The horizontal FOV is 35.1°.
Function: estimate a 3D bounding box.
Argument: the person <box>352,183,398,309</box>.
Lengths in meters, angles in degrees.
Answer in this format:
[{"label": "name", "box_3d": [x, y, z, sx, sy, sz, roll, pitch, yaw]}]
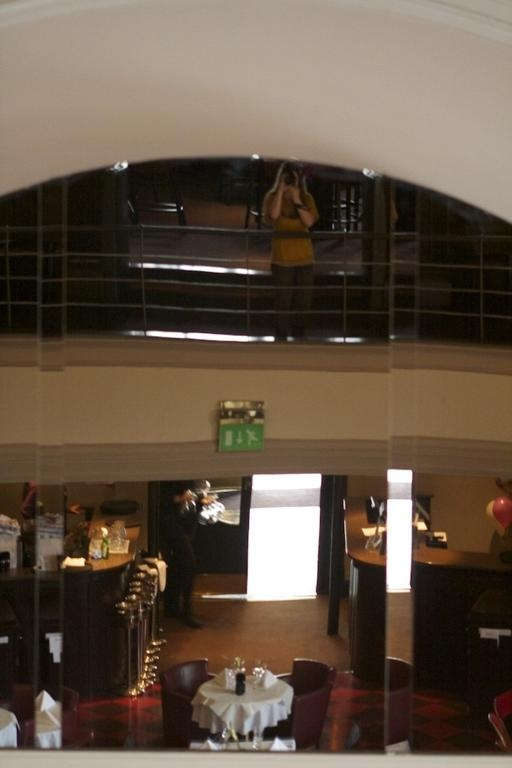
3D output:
[{"label": "person", "box_3d": [0.667, -0.784, 4.210, 0.153, 0.725, 0.151, -6, 36, 3]}]

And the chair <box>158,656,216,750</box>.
[{"label": "chair", "box_3d": [-0.318, 1.712, 4.242, 0.270, 0.420, 0.341, -1, 0, 33]}]

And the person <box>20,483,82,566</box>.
[{"label": "person", "box_3d": [-1.089, 0.769, 4.323, 0.322, 0.534, 0.955, 1, -3, -17]}]

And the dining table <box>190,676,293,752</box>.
[{"label": "dining table", "box_3d": [-0.057, 1.849, 4.329, 0.396, 0.416, 0.439, 9, -2, 31]}]

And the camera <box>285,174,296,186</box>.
[{"label": "camera", "box_3d": [0.179, -1.054, 4.118, 0.057, 0.055, 0.054, 1, 14, 3]}]
